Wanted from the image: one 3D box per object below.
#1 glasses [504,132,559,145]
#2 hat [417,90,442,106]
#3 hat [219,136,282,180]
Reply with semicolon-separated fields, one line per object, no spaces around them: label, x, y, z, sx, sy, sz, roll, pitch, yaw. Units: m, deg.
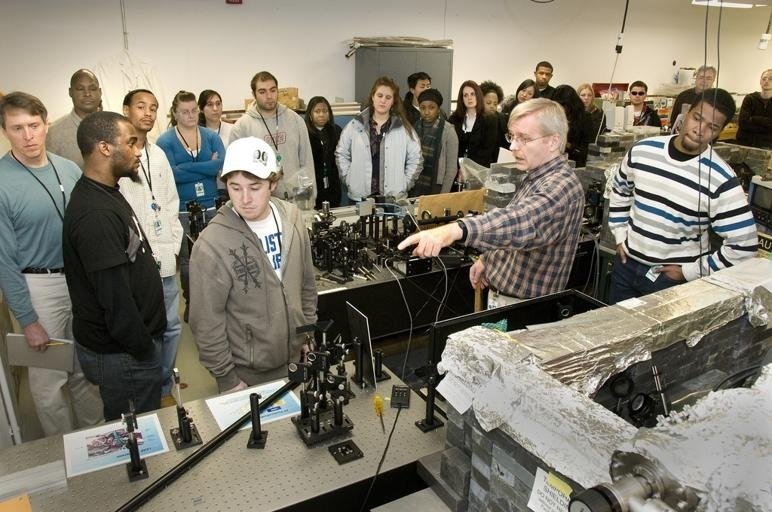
glasses;0.738;-0.599;2.624;0.257;0.050;0.115;11;21;38
hat;0.477;-1.689;5.482;0.177;0.176;0.216;11;7;7
hat;-0.637;-0.451;2.410;0.184;0.146;0.245;6;8;0
